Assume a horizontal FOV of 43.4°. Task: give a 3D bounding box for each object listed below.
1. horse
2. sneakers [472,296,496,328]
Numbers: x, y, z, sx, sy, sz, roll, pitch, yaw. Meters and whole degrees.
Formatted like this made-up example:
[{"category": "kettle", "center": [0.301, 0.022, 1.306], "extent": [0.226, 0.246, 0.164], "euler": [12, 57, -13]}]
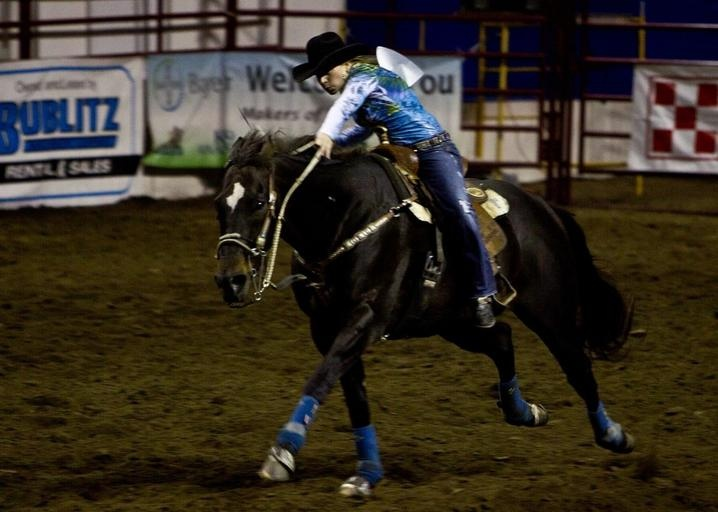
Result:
[{"category": "horse", "center": [0.404, 0.422, 5.723], "extent": [4.041, 1.900, 1.134], "euler": [0, -21, -46]}, {"category": "sneakers", "center": [0.707, 0.314, 5.314], "extent": [0.188, 0.170, 0.234], "euler": [2, 11, 3]}]
